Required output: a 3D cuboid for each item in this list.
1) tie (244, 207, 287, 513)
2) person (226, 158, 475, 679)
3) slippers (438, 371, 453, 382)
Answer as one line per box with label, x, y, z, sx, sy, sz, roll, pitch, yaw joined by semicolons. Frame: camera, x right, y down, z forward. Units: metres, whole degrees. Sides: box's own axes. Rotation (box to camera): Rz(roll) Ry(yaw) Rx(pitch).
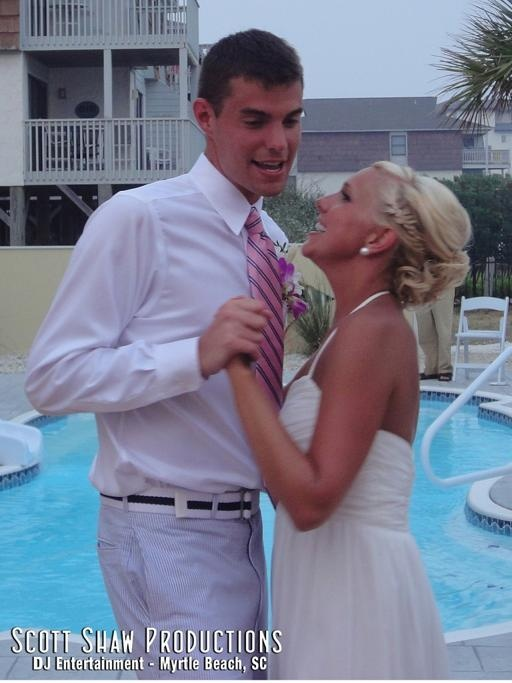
tie;0.021;0.049;2.068;0.073;0.675;0.096;-3;-8;33
person;0.200;0.194;1.958;0.483;1.171;0.454;3;8;10
slippers;2.224;0.426;10.589;0.135;0.083;0.093;2;4;38
